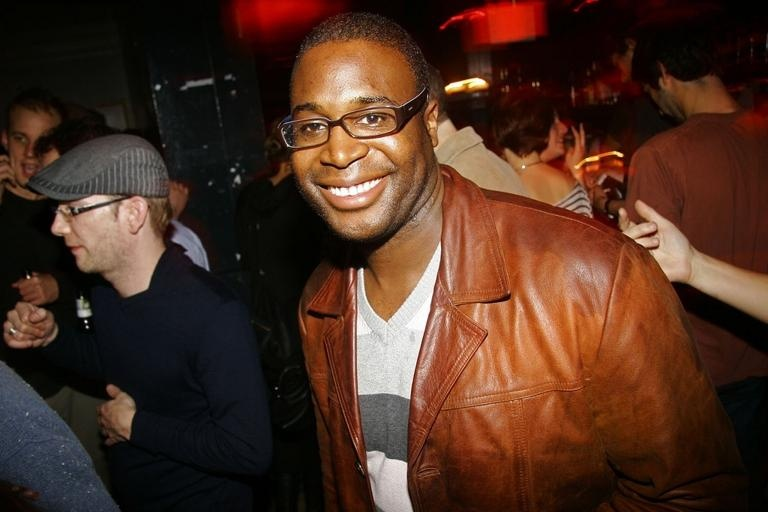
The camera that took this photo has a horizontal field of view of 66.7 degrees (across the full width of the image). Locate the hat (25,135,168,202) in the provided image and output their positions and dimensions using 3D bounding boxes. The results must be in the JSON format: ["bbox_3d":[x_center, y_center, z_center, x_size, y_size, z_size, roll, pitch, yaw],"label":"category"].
[{"bbox_3d":[-1.785,-0.540,3.669,0.648,0.329,0.453,7,23,-24],"label":"hat"}]
